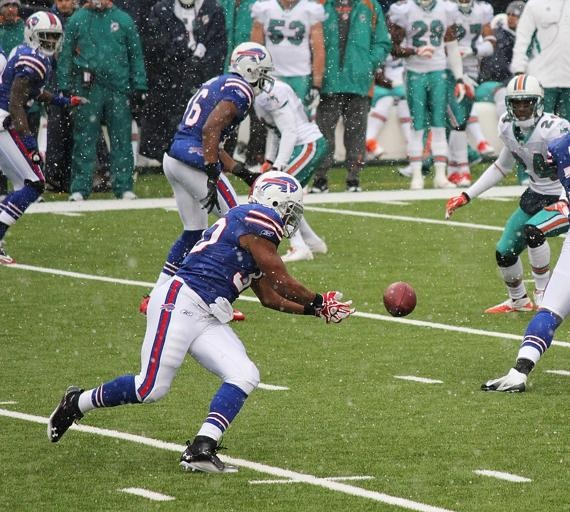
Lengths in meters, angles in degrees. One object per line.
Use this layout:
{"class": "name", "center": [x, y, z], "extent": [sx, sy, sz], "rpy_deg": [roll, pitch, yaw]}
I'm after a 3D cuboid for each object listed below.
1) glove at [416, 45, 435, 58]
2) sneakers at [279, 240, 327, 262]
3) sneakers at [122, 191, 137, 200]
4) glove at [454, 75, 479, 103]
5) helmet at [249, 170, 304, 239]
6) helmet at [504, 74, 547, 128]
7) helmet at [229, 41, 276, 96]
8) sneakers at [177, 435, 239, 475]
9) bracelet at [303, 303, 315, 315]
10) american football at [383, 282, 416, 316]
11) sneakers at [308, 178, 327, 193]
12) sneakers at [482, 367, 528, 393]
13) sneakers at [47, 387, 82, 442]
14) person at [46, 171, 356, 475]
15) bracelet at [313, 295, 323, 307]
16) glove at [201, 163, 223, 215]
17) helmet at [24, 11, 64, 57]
{"class": "glove", "center": [1.508, -2.162, 10.867], "extent": [0.185, 0.115, 0.092], "rpy_deg": [2, 11, 8]}
{"class": "sneakers", "center": [0.158, -0.053, 8.306], "extent": [0.424, 0.229, 0.149], "rpy_deg": [-9, 8, -30]}
{"class": "sneakers", "center": [-1.672, -0.636, 10.749], "extent": [0.070, 0.063, 0.131], "rpy_deg": [-3, -3, -26]}
{"class": "glove", "center": [2.070, -1.915, 11.540], "extent": [0.230, 0.200, 0.380], "rpy_deg": [13, -12, 22]}
{"class": "helmet", "center": [-0.048, -0.245, 4.551], "extent": [0.239, 0.294, 0.211], "rpy_deg": [9, 5, -4]}
{"class": "helmet", "center": [1.421, -0.931, 5.989], "extent": [0.196, 0.281, 0.279], "rpy_deg": [-4, 21, 21]}
{"class": "helmet", "center": [-0.214, -1.151, 6.298], "extent": [0.290, 0.345, 0.262], "rpy_deg": [2, 15, -12]}
{"class": "sneakers", "center": [-0.328, 0.801, 4.155], "extent": [0.291, 0.193, 0.107], "rpy_deg": [7, -5, -11]}
{"class": "bracelet", "center": [0.105, 0.233, 4.424], "extent": [0.028, 0.045, 0.045], "rpy_deg": [-11, 42, 21]}
{"class": "american football", "center": [0.597, 0.204, 5.046], "extent": [0.130, 0.167, 0.133], "rpy_deg": [20, 20, 31]}
{"class": "sneakers", "center": [0.379, -0.769, 11.197], "extent": [0.246, 0.211, 0.094], "rpy_deg": [1, 18, 1]}
{"class": "sneakers", "center": [1.114, 0.616, 5.098], "extent": [0.245, 0.134, 0.092], "rpy_deg": [-2, -7, 41]}
{"class": "sneakers", "center": [-0.965, 0.689, 4.423], "extent": [0.071, 0.207, 0.071], "rpy_deg": [10, -26, 33]}
{"class": "person", "center": [-0.339, 0.252, 4.325], "extent": [1.182, 1.140, 0.677], "rpy_deg": [-5, 12, -28]}
{"class": "bracelet", "center": [0.142, 0.188, 4.367], "extent": [0.033, 0.050, 0.039], "rpy_deg": [13, 29, -12]}
{"class": "glove", "center": [-0.440, -0.406, 5.978], "extent": [0.109, 0.266, 0.068], "rpy_deg": [5, 7, 31]}
{"class": "helmet", "center": [-1.908, -1.745, 7.938], "extent": [0.321, 0.327, 0.242], "rpy_deg": [27, 24, 34]}
